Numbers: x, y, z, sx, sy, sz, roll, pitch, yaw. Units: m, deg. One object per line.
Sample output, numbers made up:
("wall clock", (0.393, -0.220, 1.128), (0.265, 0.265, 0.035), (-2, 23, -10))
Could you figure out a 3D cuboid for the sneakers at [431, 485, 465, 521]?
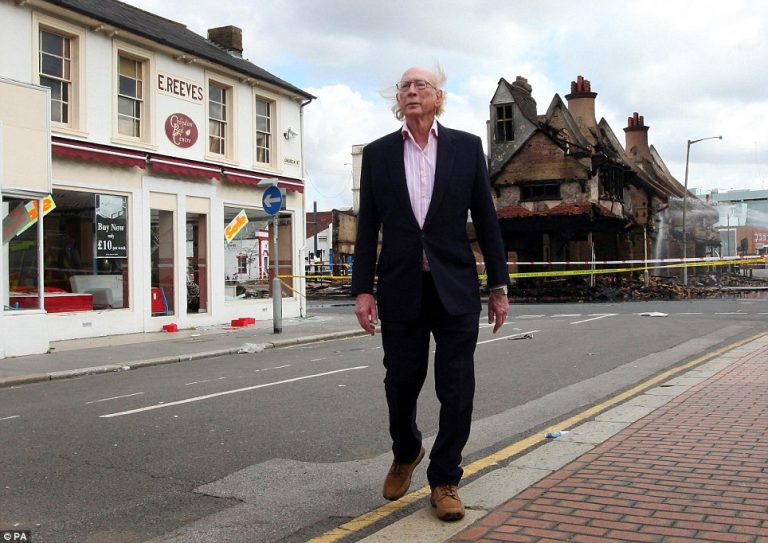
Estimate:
("sneakers", (0.475, 1.694, 5.092), (0.179, 0.203, 0.246), (2, 4, -16))
